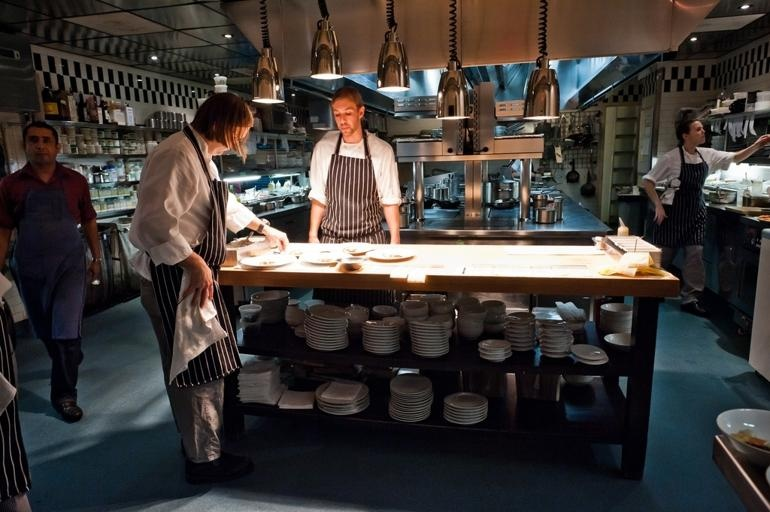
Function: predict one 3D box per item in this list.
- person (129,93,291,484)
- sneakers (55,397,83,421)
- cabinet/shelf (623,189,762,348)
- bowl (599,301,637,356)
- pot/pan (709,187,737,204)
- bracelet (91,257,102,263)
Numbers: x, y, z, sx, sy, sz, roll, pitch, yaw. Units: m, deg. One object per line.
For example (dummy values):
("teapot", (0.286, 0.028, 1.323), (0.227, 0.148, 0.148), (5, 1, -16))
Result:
("person", (-1.274, 0.261, 3.401), (0.761, 2.684, 0.448), (-6, 14, -25))
("sneakers", (-2.730, 1.309, 4.303), (0.330, 0.120, 0.121), (5, 7, 42))
("cabinet/shelf", (3.333, 0.155, 5.263), (1.043, 0.992, 1.725), (0, 17, 1))
("bowl", (1.739, 0.545, 3.737), (0.303, 0.245, 0.343), (-2, 6, 6))
("pot/pan", (4.584, -0.820, 6.764), (0.374, 0.152, 0.259), (-4, 7, -29))
("bracelet", (-2.699, 0.036, 4.648), (0.077, 0.036, 0.066), (1, 5, 23))
